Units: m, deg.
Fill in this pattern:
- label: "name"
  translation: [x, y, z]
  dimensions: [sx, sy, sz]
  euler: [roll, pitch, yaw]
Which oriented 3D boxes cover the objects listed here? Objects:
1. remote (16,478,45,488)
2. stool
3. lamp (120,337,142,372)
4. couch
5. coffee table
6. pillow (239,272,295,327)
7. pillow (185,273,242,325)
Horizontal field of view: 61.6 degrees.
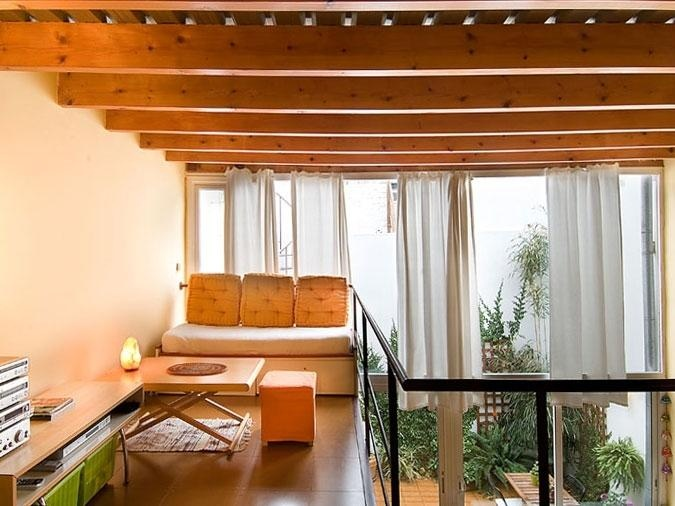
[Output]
- label: "remote"
  translation: [-1.826, 1.362, 3.348]
  dimensions: [0.114, 0.022, 0.060]
  euler: [2, 6, -1]
- label: "stool"
  translation: [-0.358, 1.326, 4.800]
  dimensions: [0.537, 0.489, 0.515]
  euler: [-6, -5, 24]
- label: "lamp"
  translation: [-1.746, 0.862, 4.773]
  dimensions: [0.193, 0.293, 0.192]
  euler: [3, -1, 2]
- label: "couch"
  translation: [-0.813, 0.845, 6.106]
  dimensions: [2.008, 1.051, 1.049]
  euler: [0, 4, 0]
- label: "coffee table"
  translation: [-1.202, 1.191, 4.633]
  dimensions: [0.966, 0.391, 0.797]
  euler: [2, 2, -3]
- label: "pillow"
  translation: [-0.781, 0.533, 6.381]
  dimensions: [0.580, 0.551, 0.173]
  euler: [-1, -1, 2]
- label: "pillow"
  translation: [-1.377, 0.536, 6.317]
  dimensions: [0.546, 0.533, 0.192]
  euler: [1, -7, 4]
